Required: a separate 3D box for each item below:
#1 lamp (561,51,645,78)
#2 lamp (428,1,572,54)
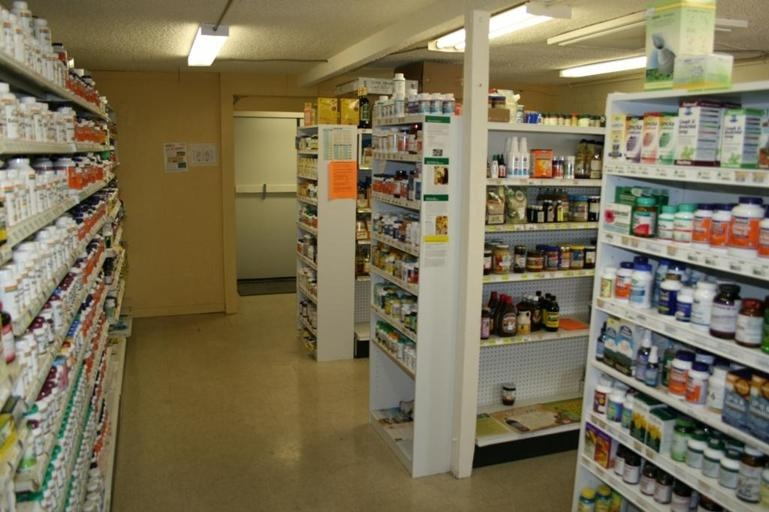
[{"bbox_3d":[3.183,-2.669,7.781,0.596,0.133,1.522,-5,15,-21],"label":"lamp"},{"bbox_3d":[1.089,-2.185,5.230,0.862,0.177,0.539,-17,24,-17],"label":"lamp"}]
